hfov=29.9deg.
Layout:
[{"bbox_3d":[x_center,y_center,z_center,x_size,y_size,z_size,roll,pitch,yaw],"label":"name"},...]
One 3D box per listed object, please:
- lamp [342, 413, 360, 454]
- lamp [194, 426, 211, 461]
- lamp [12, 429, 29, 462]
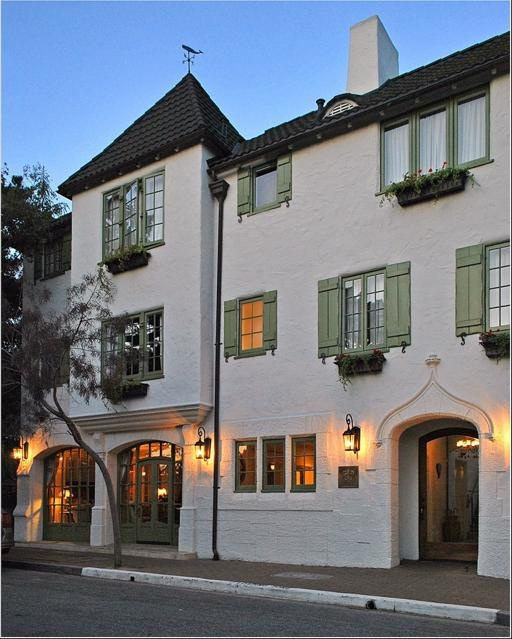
[{"bbox_3d":[1.707,2.071,17.075,0.350,0.707,0.275,-3,-7,29],"label":"lamp"},{"bbox_3d":[-1.117,2.579,19.551,0.305,0.678,0.401,5,-8,-34],"label":"lamp"},{"bbox_3d":[-5.998,3.369,24.411,0.281,0.614,0.888,4,-8,-26],"label":"lamp"}]
